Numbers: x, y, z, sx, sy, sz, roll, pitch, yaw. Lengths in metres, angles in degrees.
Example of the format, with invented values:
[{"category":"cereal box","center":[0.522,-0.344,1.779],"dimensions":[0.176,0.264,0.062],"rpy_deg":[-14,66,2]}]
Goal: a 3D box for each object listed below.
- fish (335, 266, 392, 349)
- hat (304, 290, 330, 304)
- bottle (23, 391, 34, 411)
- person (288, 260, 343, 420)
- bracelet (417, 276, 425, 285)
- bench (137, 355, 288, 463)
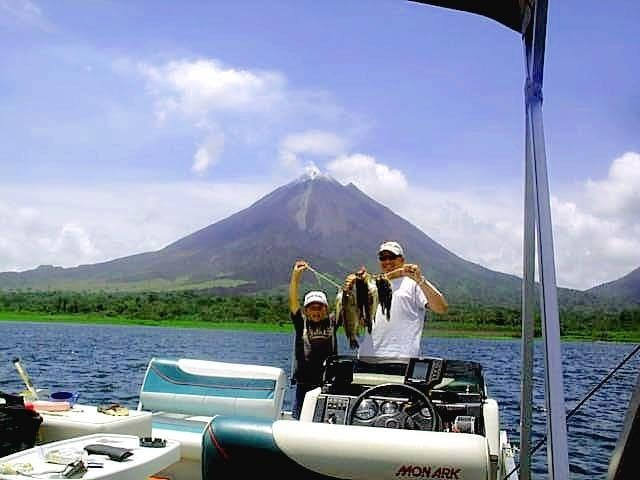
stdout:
[{"category":"fish","center":[0.456,0.730,5.462],"dimensions":[0.527,0.813,0.235],"rpy_deg":[2,-3,13]},{"category":"hat","center":[-0.052,0.703,6.496],"dimensions":[0.292,0.189,0.356],"rpy_deg":[3,-3,-2]},{"category":"bottle","center":[-3.326,1.812,5.977],"dimensions":[0.097,0.173,0.065],"rpy_deg":[25,36,29]},{"category":"person","center":[-0.043,1.401,6.385],"dimensions":[0.736,0.620,2.382],"rpy_deg":[7,44,-8]},{"category":"bracelet","center":[1.087,0.413,5.651],"dimensions":[0.063,0.095,0.031],"rpy_deg":[-1,6,2]},{"category":"bench","center":[-1.531,2.014,6.756],"dimensions":[1.711,0.785,1.313],"rpy_deg":[4,13,13]}]
